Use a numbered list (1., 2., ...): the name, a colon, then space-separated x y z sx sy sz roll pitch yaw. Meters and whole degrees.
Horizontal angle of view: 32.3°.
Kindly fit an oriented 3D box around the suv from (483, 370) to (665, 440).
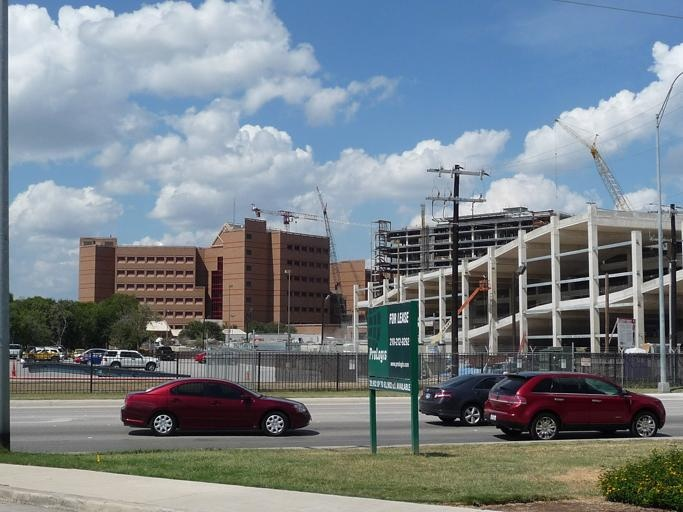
1. suv: 8.177 5.240 41.459 5.543 1.899 2.506 -2 -3 -11

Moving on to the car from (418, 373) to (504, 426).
1. car: 5.962 5.579 45.757 5.904 1.886 2.536 3 -4 -18
